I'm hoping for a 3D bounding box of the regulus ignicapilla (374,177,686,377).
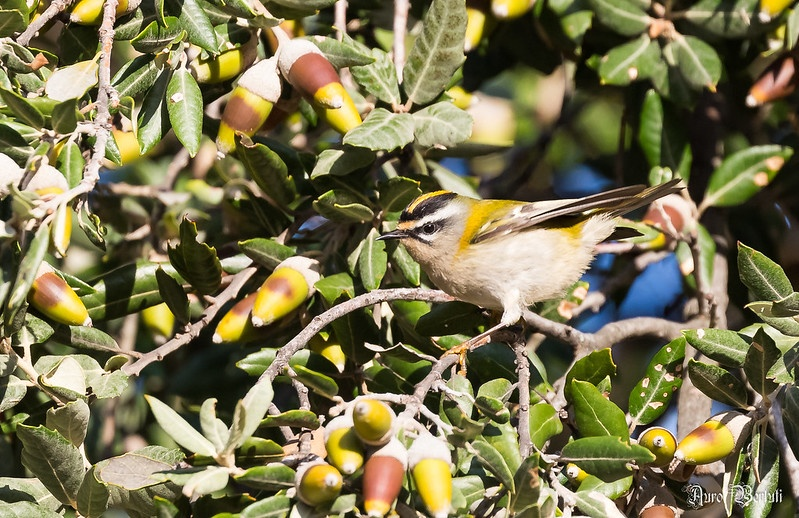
[{"bbox_3d":[0.847,-0.058,5.577,1.807,0.614,1.030,-15,75,6],"label":"regulus ignicapilla"}]
